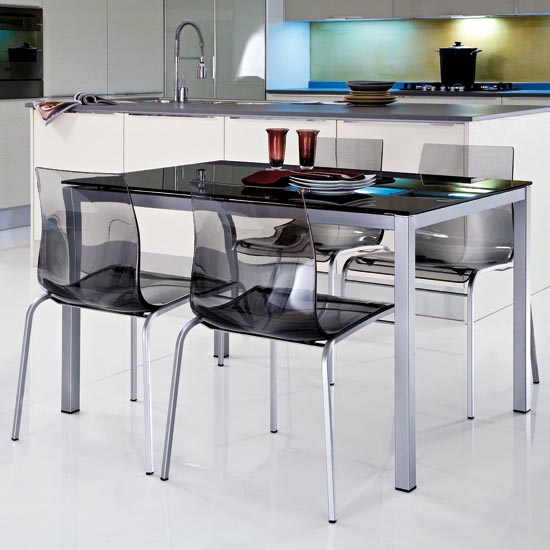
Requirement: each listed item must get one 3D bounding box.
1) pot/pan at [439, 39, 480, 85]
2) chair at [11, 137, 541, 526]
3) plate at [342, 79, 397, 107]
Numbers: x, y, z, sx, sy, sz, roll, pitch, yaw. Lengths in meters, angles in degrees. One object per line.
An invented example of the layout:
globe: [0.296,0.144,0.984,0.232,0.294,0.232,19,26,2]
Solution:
pot/pan: [1.678,-1.914,5.480,0.324,0.384,0.264,3,9,15]
chair: [0.041,0.052,1.925,0.993,0.708,1.124,4,9,33]
plate: [0.585,-1.133,3.692,0.304,0.139,0.152,3,9,20]
